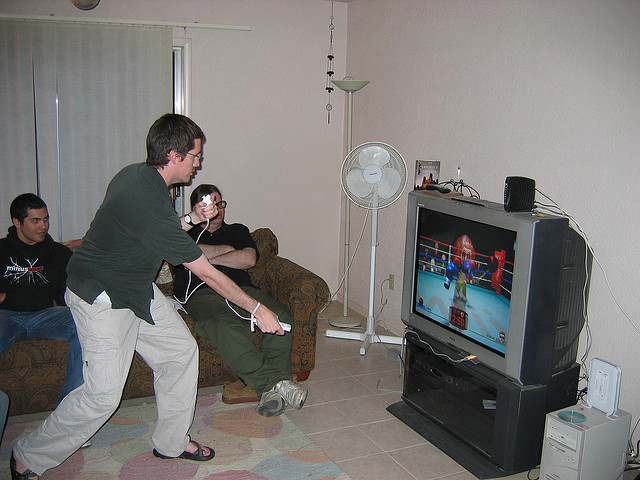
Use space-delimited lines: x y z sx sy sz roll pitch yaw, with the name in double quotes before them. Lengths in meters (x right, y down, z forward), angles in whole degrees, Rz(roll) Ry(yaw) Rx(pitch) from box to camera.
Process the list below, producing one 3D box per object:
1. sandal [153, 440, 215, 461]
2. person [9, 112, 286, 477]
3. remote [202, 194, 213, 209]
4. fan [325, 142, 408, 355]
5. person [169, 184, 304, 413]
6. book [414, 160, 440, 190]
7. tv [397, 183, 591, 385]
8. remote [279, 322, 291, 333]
"sandal" -0.755 1.215 2.752 0.302 0.099 0.122 3 4 -10
"person" -0.904 0.336 2.494 1.151 1.891 0.415 -1 12 -9
"remote" -0.583 -0.196 2.590 0.056 0.060 0.014 -21 3 26
"fan" 0.389 0.088 4.056 0.624 1.745 0.411 5 13 19
"person" -0.559 0.298 3.336 0.695 1.174 1.819 -9 16 -26
"book" 0.856 -0.551 4.100 0.119 0.229 0.285 -6 15 -29
"tv" 1.003 0.233 3.070 0.492 0.901 0.897 0 10 -33
"remote" -0.188 0.458 2.587 0.088 0.051 0.027 13 27 41
